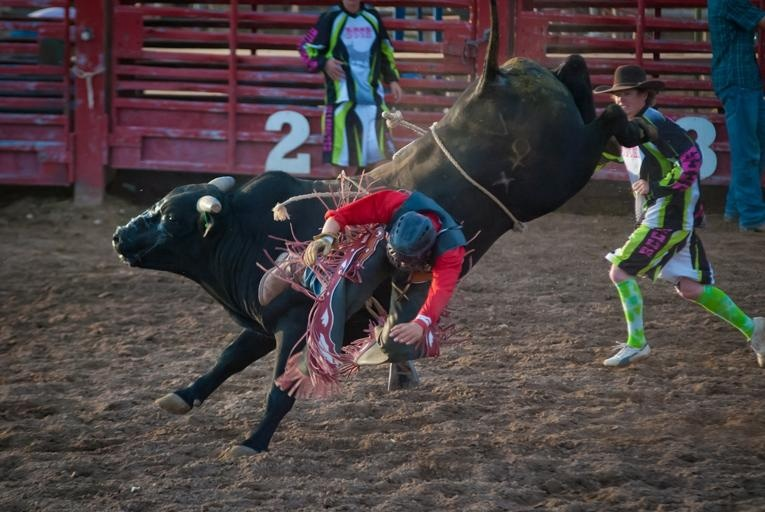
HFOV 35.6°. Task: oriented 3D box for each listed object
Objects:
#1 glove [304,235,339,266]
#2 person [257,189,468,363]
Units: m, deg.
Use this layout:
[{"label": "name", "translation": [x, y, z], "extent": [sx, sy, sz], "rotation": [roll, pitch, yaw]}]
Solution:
[{"label": "glove", "translation": [-0.425, -0.047, 8.331], "extent": [0.197, 0.250, 0.075], "rotation": [32, -13, 30]}, {"label": "person", "translation": [0.070, -0.048, 8.125], "extent": [0.499, 0.862, 1.177], "rotation": [-41, -4, 30]}]
